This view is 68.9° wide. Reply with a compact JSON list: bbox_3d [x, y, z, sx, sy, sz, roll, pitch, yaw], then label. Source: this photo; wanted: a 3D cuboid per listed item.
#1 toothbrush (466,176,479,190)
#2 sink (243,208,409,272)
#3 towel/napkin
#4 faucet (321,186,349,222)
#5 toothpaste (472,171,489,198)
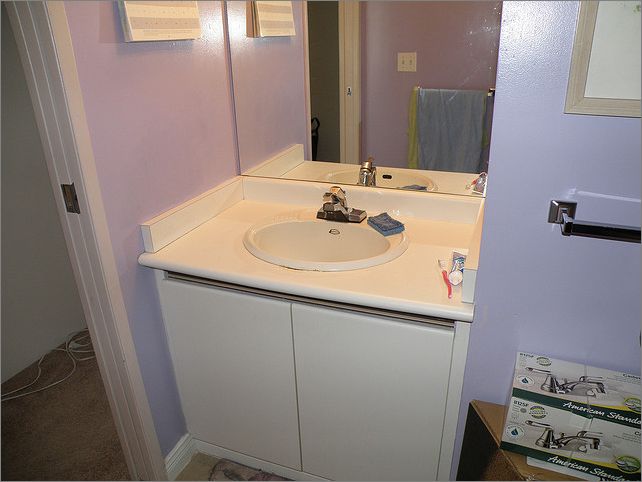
[{"bbox_3d":[0.569,-0.220,1.754,0.010,0.046,0.031,28,18,0],"label":"toothbrush"},{"bbox_3d":[0.010,0.045,1.689,0.593,0.155,0.360,6,23,14],"label":"sink"},{"bbox_3d":[0.485,-0.423,1.709,0.253,0.381,0.041,7,27,19],"label":"towel/napkin"},{"bbox_3d":[0.056,-0.143,1.767,0.078,0.079,0.144,3,22,9],"label":"faucet"},{"bbox_3d":[0.594,-0.219,1.745,0.048,0.088,0.024,17,27,36],"label":"toothpaste"}]
